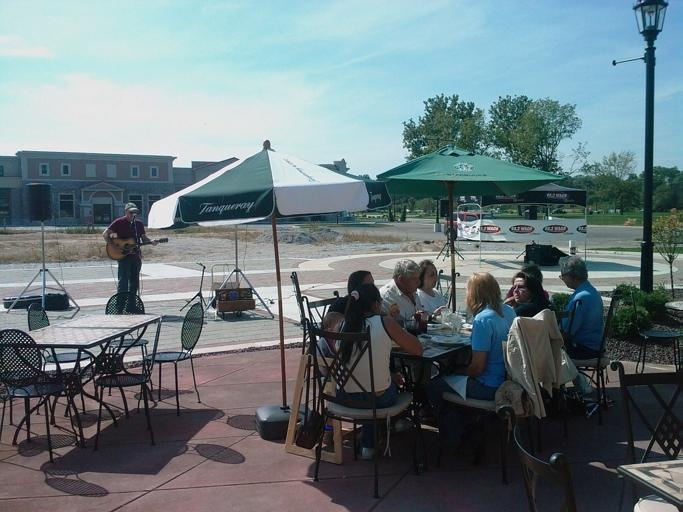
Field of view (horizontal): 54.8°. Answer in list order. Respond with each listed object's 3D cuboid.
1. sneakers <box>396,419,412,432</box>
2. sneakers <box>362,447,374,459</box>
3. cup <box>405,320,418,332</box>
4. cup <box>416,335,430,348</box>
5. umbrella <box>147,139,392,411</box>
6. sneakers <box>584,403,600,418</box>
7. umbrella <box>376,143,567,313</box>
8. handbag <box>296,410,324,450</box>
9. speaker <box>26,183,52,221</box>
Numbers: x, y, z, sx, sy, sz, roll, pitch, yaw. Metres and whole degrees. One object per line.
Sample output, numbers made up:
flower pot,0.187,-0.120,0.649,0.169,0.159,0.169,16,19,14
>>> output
sneakers,0.606,1.663,6.503,0.179,0.091,0.175,-3,5,16
sneakers,0.247,1.832,6.164,0.126,0.113,0.087,-3,7,16
cup,0.730,0.725,6.893,0.109,0.073,0.104,-1,-1,0
cup,0.817,0.833,6.465,0.099,0.079,0.095,-1,-1,0
umbrella,-0.774,0.156,7.796,2.801,3.025,2.838,0,8,15
sneakers,2.739,1.669,7.189,0.084,0.079,0.322,11,13,36
umbrella,1.761,-0.507,9.137,2.769,2.219,2.298,-1,3,-16
handbag,-0.291,1.603,6.044,0.233,0.345,0.086,11,0,10
speaker,-5.735,-1.021,12.514,0.395,0.704,0.778,-4,9,-24
